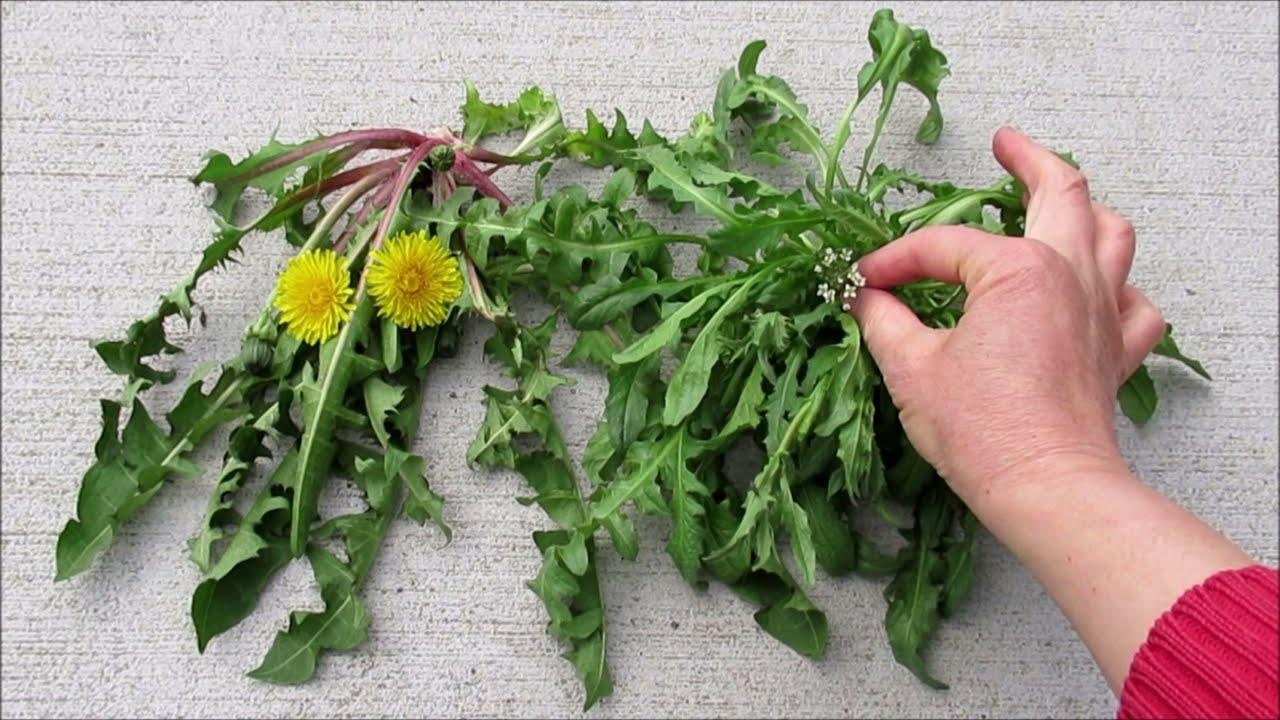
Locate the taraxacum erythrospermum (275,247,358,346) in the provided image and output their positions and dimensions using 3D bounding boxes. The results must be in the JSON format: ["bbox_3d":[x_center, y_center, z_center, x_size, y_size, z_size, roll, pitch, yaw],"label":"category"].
[{"bbox_3d":[-0.855,-0.156,2.998,0.205,0.244,0.166,-8,30,-18],"label":"taraxacum erythrospermum"}]

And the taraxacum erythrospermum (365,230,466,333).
[{"bbox_3d":[-0.593,-0.214,2.993,0.256,0.231,0.142,-2,28,-8],"label":"taraxacum erythrospermum"}]

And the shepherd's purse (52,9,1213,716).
[{"bbox_3d":[-0.231,0.010,3.375,2.980,1.883,0.715,0,-2,5],"label":"shepherd's purse"}]
